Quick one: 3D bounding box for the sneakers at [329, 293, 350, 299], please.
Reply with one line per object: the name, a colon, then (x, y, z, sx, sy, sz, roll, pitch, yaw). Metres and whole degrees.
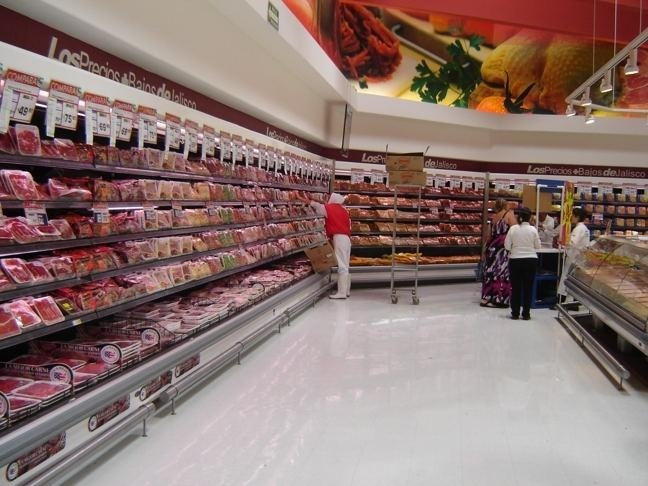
sneakers: (0.327, 1.084, 7.592, 0.392, 0.137, 0.124, -1, -3, 6)
